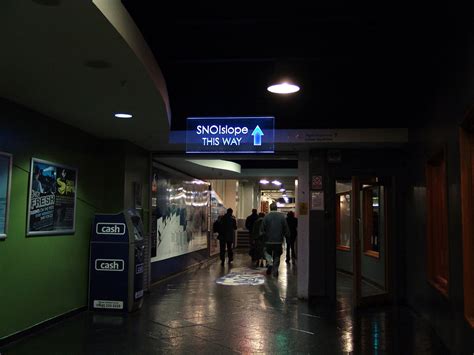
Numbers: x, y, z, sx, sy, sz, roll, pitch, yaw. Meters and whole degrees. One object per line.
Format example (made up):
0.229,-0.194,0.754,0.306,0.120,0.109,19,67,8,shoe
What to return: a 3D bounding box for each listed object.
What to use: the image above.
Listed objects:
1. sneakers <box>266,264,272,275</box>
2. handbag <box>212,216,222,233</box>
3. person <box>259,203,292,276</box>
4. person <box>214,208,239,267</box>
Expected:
0.937,2.735,10.492,0.121,0.364,0.226,3,24,3,sneakers
-0.720,1.783,12.983,0.190,0.674,0.446,6,0,-1,handbag
1.091,1.737,10.172,0.735,2.067,0.713,-2,7,-12,person
-0.438,2.147,13.225,0.897,2.278,0.690,-4,18,-26,person
